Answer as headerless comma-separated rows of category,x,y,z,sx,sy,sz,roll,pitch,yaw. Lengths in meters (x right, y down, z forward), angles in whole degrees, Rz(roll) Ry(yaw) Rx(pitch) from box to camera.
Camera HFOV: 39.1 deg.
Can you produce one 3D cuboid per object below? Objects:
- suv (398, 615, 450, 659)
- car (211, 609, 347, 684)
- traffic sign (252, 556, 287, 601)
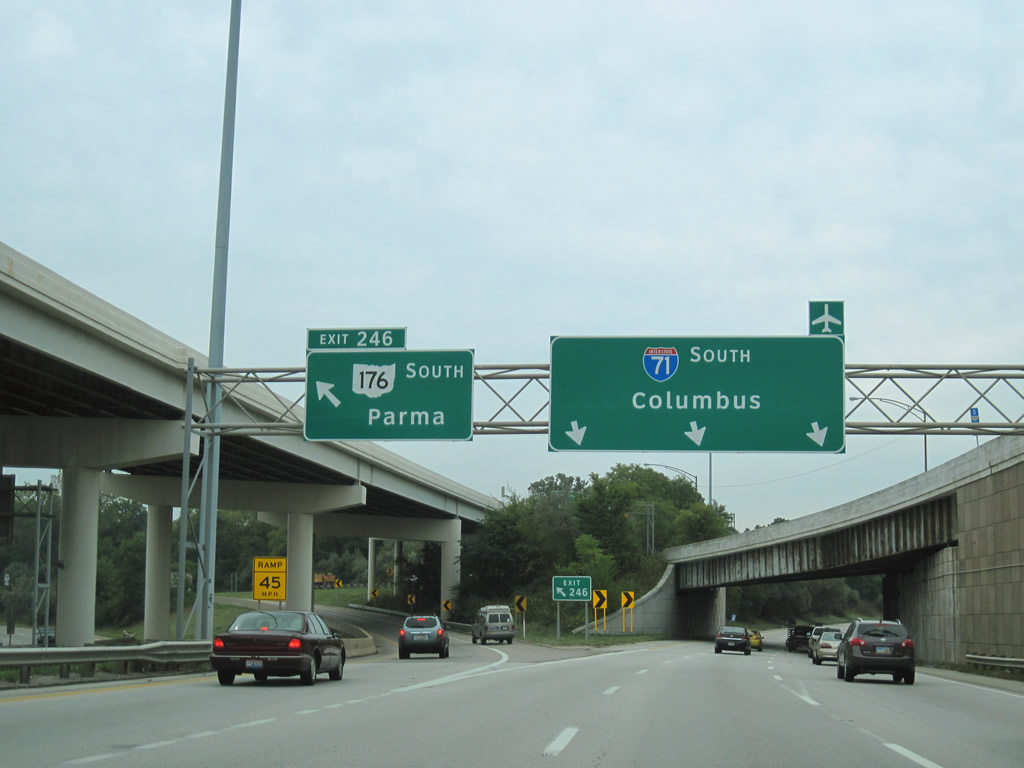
suv,-3.787,10.894,62.168,1.980,2.068,3.106,1,-17,-7
car,-6.630,7.368,41.050,3.776,2.037,2.185,8,-18,-27
traffic sign,-9.638,7.608,57.755,1.212,1.892,2.039,3,-16,-14
